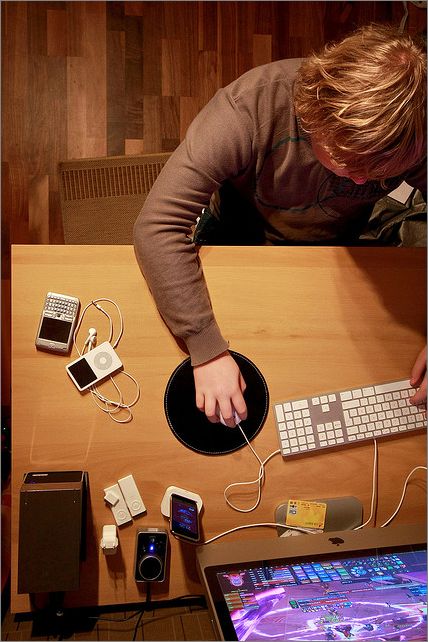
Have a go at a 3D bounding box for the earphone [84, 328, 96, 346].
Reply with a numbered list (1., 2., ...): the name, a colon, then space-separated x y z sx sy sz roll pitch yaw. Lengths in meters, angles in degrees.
1. earphone: -0.262 0.034 1.028 0.024 0.037 0.017 -3 11 -13

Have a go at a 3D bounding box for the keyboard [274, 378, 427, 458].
1. keyboard: 0.301 0.186 1.020 0.420 0.144 0.059 -10 -1 -6

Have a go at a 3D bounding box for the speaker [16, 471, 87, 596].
1. speaker: -0.320 0.416 0.968 0.128 0.196 0.117 -3 11 -10

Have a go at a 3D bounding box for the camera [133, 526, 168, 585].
1. camera: -0.132 0.487 1.015 0.064 0.109 0.059 2 4 -11

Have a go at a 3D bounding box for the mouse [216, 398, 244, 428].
1. mouse: 0.033 0.198 1.023 0.039 0.036 0.046 1 0 31

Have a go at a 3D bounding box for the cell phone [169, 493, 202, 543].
1. cell phone: -0.065 0.414 1.018 0.068 0.010 0.098 28 25 -19
